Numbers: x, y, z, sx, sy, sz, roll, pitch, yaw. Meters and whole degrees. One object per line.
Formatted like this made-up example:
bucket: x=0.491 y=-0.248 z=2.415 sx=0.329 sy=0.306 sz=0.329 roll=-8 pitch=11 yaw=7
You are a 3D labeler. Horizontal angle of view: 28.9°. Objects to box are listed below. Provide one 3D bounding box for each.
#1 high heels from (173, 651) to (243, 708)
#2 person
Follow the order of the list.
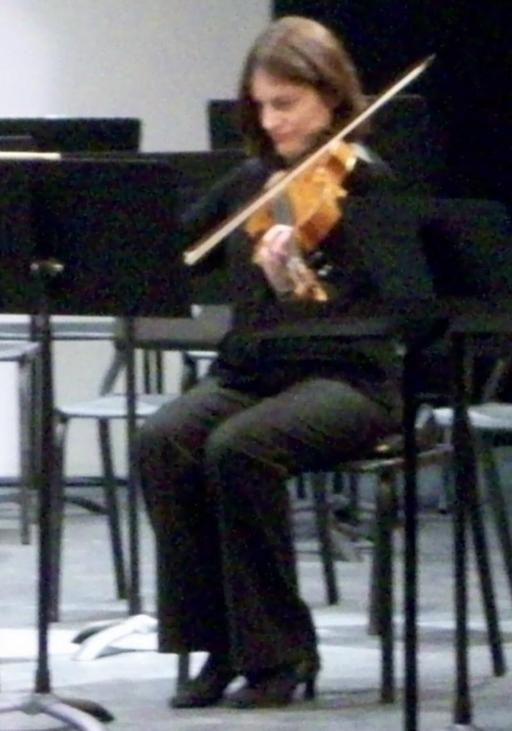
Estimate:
high heels: x=-0.055 y=0.365 z=1.137 sx=0.047 sy=0.081 sz=0.030 roll=41 pitch=-10 yaw=11
person: x=0.015 y=0.003 z=1.178 sx=0.344 sy=0.751 sz=0.337 roll=0 pitch=17 yaw=5
